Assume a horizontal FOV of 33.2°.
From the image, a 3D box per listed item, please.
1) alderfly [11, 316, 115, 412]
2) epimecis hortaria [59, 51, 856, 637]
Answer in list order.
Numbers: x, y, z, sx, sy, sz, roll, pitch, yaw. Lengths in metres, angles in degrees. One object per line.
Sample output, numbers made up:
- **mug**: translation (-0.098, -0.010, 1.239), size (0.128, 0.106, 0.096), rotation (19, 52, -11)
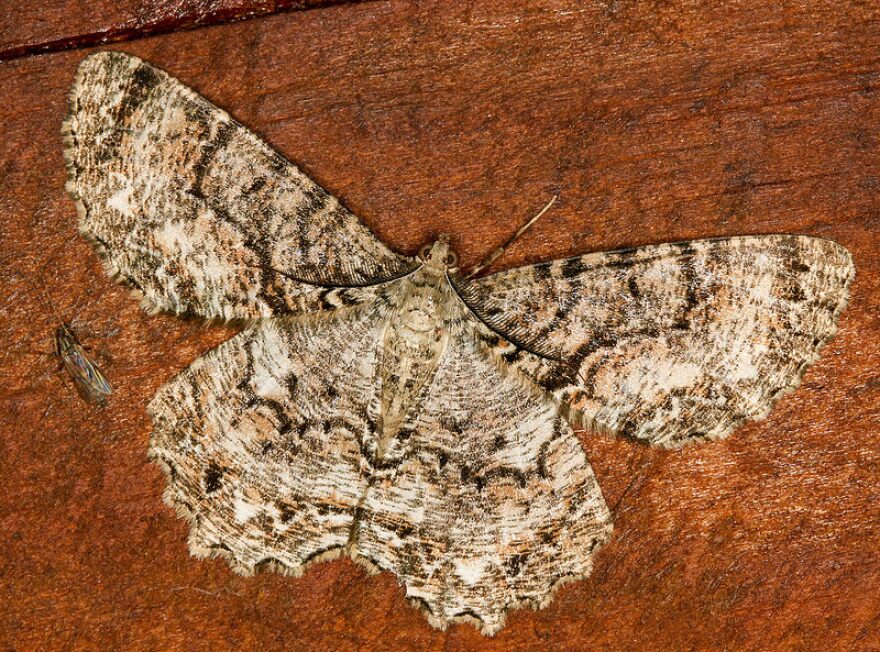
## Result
- **alderfly**: translation (-1.557, 0.169, 6.416), size (0.287, 0.094, 0.352), rotation (-24, -85, 11)
- **epimecis hortaria**: translation (-0.102, 0.182, 6.270), size (3.169, 0.352, 1.903), rotation (16, -79, -3)
